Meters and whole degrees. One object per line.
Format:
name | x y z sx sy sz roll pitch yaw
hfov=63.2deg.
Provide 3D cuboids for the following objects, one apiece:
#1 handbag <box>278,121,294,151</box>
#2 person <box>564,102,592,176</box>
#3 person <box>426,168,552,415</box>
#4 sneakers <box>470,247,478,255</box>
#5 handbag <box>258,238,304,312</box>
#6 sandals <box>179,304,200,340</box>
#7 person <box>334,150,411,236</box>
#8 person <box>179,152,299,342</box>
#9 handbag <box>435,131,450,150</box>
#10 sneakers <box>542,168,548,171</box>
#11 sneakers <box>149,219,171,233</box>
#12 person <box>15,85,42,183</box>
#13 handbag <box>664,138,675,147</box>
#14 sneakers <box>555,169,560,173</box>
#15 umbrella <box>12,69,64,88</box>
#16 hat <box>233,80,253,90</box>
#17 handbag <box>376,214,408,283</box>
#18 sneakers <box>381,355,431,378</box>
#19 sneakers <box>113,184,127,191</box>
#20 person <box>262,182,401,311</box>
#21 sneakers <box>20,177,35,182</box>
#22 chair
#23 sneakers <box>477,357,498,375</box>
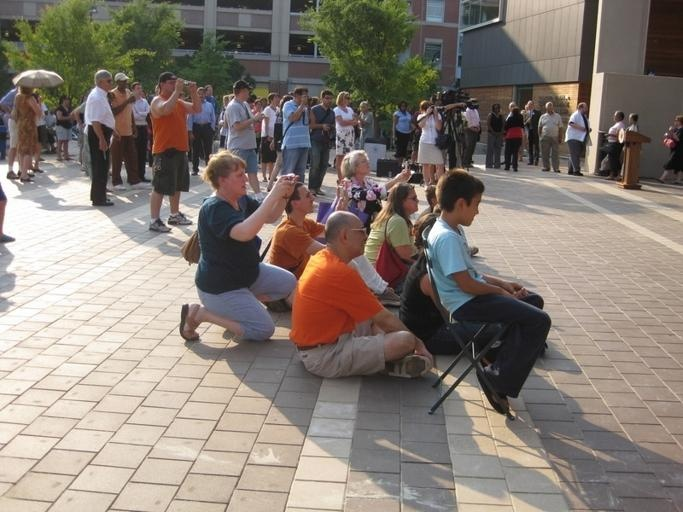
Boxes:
handbag | -1.245 -2.630 12.262 0.272 0.682 0.822 -5 17 -17
person | 8.028 -3.970 18.960 0.660 2.372 1.178 8 17 24
person | 0.996 0.256 4.006 0.469 1.675 0.899 -10 19 -33
sneakers | 1.937 -0.067 8.204 0.115 0.084 0.105 10 19 34
handbag | -0.667 0.213 6.055 0.539 0.730 0.685 4 2 -12
sandals | -1.396 0.599 5.094 0.201 0.368 0.194 -3 16 -13
person | 0.479 -0.603 7.511 0.973 1.498 0.577 9 27 20
person | -0.932 -0.097 5.323 1.135 1.720 1.179 9 16 33
handbag | 2.511 -2.809 13.619 0.334 0.603 0.467 3 11 22
sneakers | 7.303 -3.100 19.974 0.151 0.106 0.088 -3 4 -13
sneakers | -2.951 -0.488 9.040 0.323 0.147 0.183 4 22 3
person | -7.691 -3.164 13.799 0.667 2.286 0.625 -8 19 -44
handbag | 10.232 -3.561 17.407 0.208 0.293 0.439 6 17 19
sneakers | 7.606 -3.018 19.678 0.155 0.077 0.215 -1 6 8
umbrella | -7.960 -4.626 14.455 1.054 0.457 1.132 12 20 35
hat | -1.941 -3.306 10.763 0.260 0.191 0.357 -1 16 -3
handbag | 0.550 -0.075 6.014 0.332 0.643 0.464 -17 33 -26
sneakers | 0.536 0.878 4.550 0.435 0.164 0.182 -2 15 15
sneakers | -5.215 -1.609 13.041 0.318 0.145 0.177 3 7 42
person | -0.099 -0.151 6.124 1.568 1.267 0.709 1 13 12
sneakers | -7.625 -1.852 13.440 0.330 0.133 0.118 -3 10 -20
chair | 0.970 0.550 4.673 1.120 1.727 0.883 0 7 8
sneakers | 1.071 0.813 4.043 0.111 0.064 0.175 27 2 9
